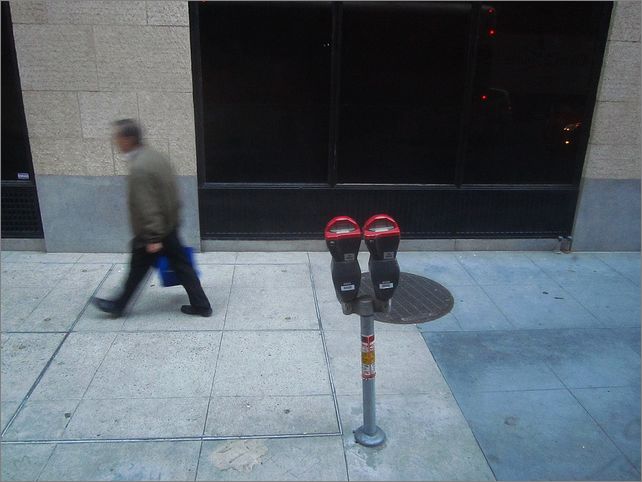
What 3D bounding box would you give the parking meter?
[{"bbox_3d":[0.336,0.741,3.817,0.576,1.930,0.628,0,24,4],"label":"parking meter"}]
